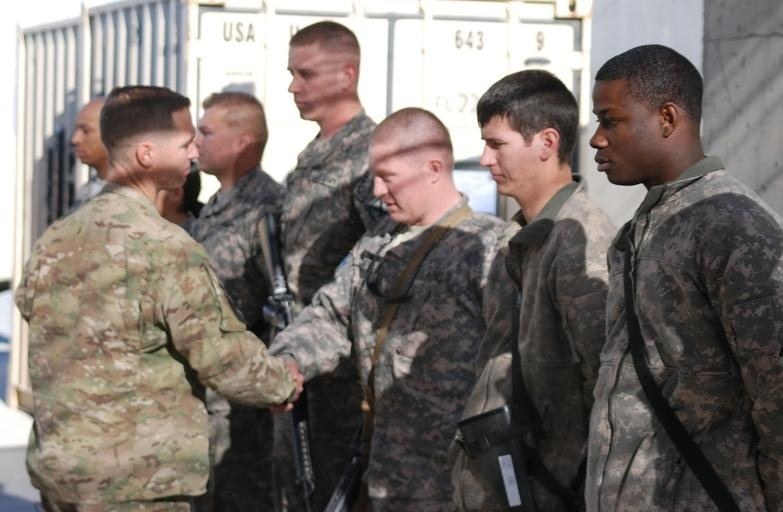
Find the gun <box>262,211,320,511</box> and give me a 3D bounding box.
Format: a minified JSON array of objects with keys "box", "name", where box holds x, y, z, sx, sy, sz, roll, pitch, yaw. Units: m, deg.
[{"box":[-0.688,0.676,12.533,0.091,2.147,0.622,-4,-9,-11],"name":"gun"}]
